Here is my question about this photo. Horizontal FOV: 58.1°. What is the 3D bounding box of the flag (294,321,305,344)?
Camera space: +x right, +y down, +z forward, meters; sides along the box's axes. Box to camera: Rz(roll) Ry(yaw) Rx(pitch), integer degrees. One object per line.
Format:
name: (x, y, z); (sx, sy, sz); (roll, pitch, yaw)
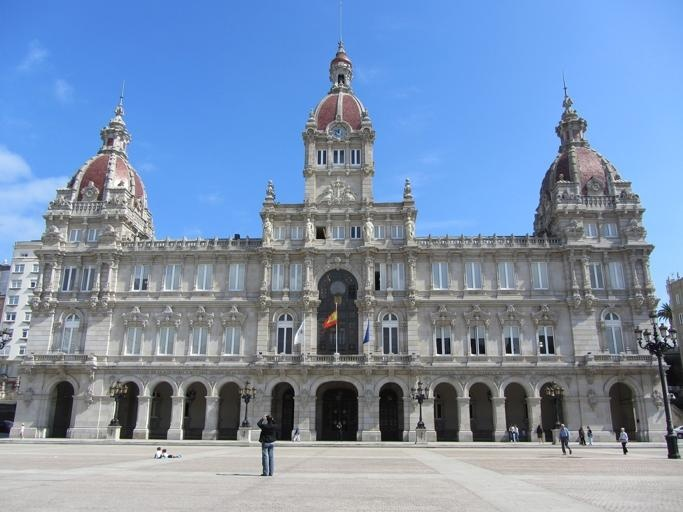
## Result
flag: (-4.195, 7.751, 63.090); (0.934, 2.378, 1.231); (1, -17, -4)

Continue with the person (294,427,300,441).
person: (-4.390, 17.526, 60.800); (0.640, 1.276, 0.756); (-5, -17, 15)

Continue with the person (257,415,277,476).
person: (-3.650, 9.288, 30.156); (0.769, 2.893, 1.268); (2, -17, -6)

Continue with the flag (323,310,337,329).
flag: (-1.154, 6.726, 64.439); (0.249, 1.974, 2.036); (16, -8, -33)

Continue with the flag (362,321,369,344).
flag: (2.615, 7.832, 63.577); (0.646, 2.481, 0.530); (0, -17, 1)
